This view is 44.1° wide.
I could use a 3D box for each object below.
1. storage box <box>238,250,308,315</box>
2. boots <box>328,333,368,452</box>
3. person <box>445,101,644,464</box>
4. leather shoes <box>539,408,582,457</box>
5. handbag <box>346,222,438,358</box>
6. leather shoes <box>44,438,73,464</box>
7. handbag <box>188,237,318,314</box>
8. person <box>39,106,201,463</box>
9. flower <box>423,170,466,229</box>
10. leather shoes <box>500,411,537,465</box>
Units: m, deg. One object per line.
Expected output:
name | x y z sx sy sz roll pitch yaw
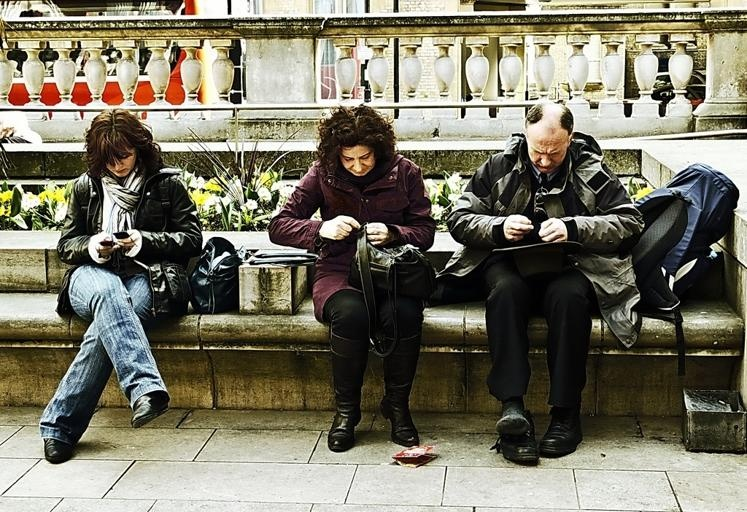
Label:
storage box | -0.705 0.216 6.368 0.344 0.296 0.625 0 4 5
boots | -0.167 0.849 5.946 0.215 0.716 0.392 3 12 30
person | 1.179 0.090 6.041 1.182 2.154 1.004 -6 11 -15
leather shoes | 1.181 1.089 5.795 0.194 0.273 0.290 4 12 34
handbag | 0.107 0.198 5.982 0.543 0.827 0.409 7 7 5
leather shoes | -1.988 1.204 5.801 0.179 0.140 0.134 -7 11 -20
handbag | -0.824 0.101 6.506 0.923 0.474 0.658 1 11 1
person | -1.682 0.138 5.995 0.982 2.129 1.017 -3 10 0
flower | 0.622 -0.519 7.990 0.509 0.511 0.520 -2 9 2
leather shoes | 0.909 1.120 5.743 0.239 0.263 0.253 -2 10 7
